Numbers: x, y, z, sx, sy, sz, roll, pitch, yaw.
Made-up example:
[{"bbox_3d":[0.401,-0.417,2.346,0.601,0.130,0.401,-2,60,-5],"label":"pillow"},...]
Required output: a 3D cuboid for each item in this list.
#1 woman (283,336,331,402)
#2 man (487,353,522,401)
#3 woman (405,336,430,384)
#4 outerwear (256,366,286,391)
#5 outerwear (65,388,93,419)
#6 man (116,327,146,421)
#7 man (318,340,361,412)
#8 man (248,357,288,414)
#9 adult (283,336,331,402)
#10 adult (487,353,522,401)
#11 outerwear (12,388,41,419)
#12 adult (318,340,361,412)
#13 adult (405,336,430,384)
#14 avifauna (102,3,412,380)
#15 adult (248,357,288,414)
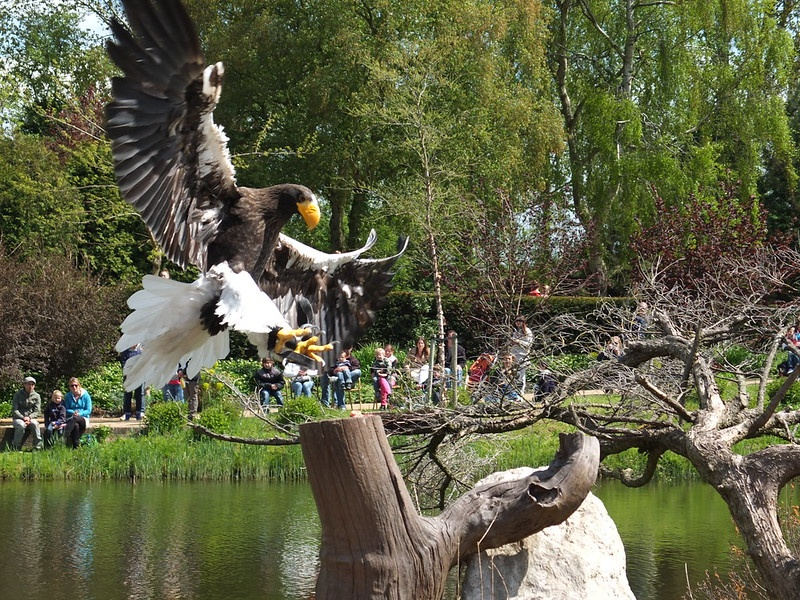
[{"bbox_3d":[-0.938,0.720,9.944,0.393,0.701,0.452,5,20,-1],"label":"woman"},{"bbox_3d":[1.195,0.883,11.348,0.425,0.550,1.469,0,8,8],"label":"man"},{"bbox_3d":[0.302,1.021,14.717,0.325,0.965,0.519,2,2,-10],"label":"woman"},{"bbox_3d":[-2.299,1.487,18.163,0.485,0.534,0.373,12,-26,-41],"label":"outerwear"},{"bbox_3d":[-5.801,1.938,18.184,0.431,0.687,0.486,2,-12,-7],"label":"outerwear"},{"bbox_3d":[-5.050,1.506,19.033,0.533,1.681,0.608,-1,23,-11],"label":"man"},{"bbox_3d":[-1.076,1.448,19.074,0.707,1.662,0.837,20,-40,-27],"label":"man"},{"bbox_3d":[-2.309,1.605,18.105,0.424,1.194,0.608,0,-16,-18],"label":"man"},{"bbox_3d":[-0.937,0.703,9.935,0.344,0.765,0.383,9,15,14],"label":"adult"},{"bbox_3d":[1.195,0.883,11.348,0.425,0.550,1.469,0,8,8],"label":"adult"},{"bbox_3d":[-6.697,1.936,18.013,0.508,0.745,0.438,2,-13,-25],"label":"outerwear"},{"bbox_3d":[-1.087,1.428,19.065,0.684,1.632,0.837,17,-38,-24],"label":"adult"},{"bbox_3d":[0.309,1.027,14.731,0.310,0.901,0.523,1,6,-16],"label":"adult"},{"bbox_3d":[-2.292,-2.020,17.023,3.051,4.405,7.566,-17,-44,16],"label":"avifauna"},{"bbox_3d":[-2.311,1.597,18.091,0.442,1.205,0.633,2,-17,-24],"label":"adult"}]
